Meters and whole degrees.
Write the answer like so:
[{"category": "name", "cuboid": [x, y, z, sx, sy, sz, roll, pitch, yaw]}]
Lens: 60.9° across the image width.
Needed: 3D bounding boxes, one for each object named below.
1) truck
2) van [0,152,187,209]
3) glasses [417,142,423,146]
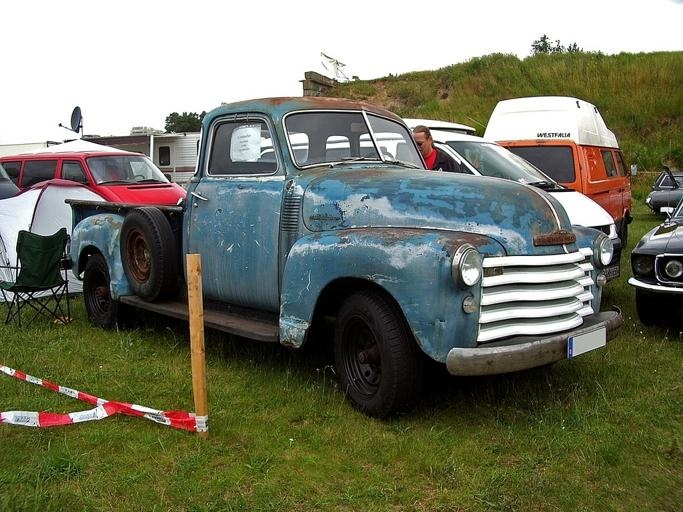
[{"category": "truck", "cuboid": [-0.513, -0.172, 6.195, 5.444, 2.373, 2.508, 5, 7, 42]}, {"category": "van", "cuboid": [-4.798, -1.427, 10.943, 2.955, 1.450, 1.614, 2, 8, 26]}, {"category": "glasses", "cuboid": [1.012, -1.460, 7.571, 0.058, 0.051, 0.061, 2, 12, 7]}]
